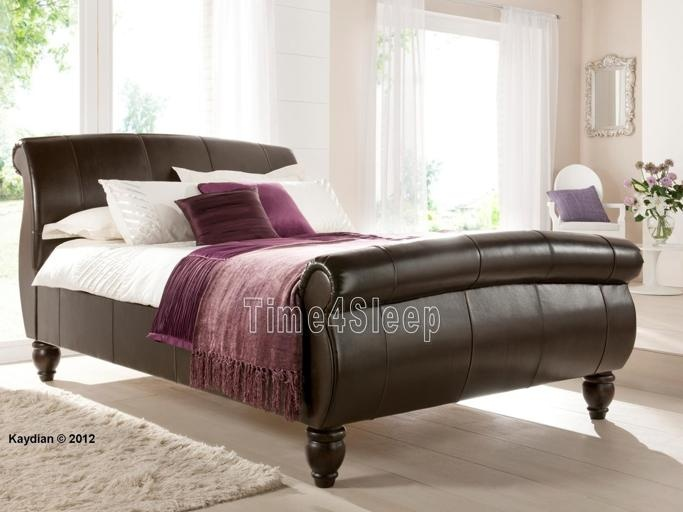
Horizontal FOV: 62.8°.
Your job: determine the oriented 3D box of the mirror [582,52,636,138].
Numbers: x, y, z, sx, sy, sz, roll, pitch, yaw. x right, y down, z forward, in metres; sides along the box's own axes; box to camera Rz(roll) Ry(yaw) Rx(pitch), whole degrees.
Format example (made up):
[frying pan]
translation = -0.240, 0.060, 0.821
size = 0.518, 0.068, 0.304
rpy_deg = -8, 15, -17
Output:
[mirror]
translation = 3.165, -1.884, 6.584
size = 0.052, 0.970, 0.588
rpy_deg = -2, 4, -41
